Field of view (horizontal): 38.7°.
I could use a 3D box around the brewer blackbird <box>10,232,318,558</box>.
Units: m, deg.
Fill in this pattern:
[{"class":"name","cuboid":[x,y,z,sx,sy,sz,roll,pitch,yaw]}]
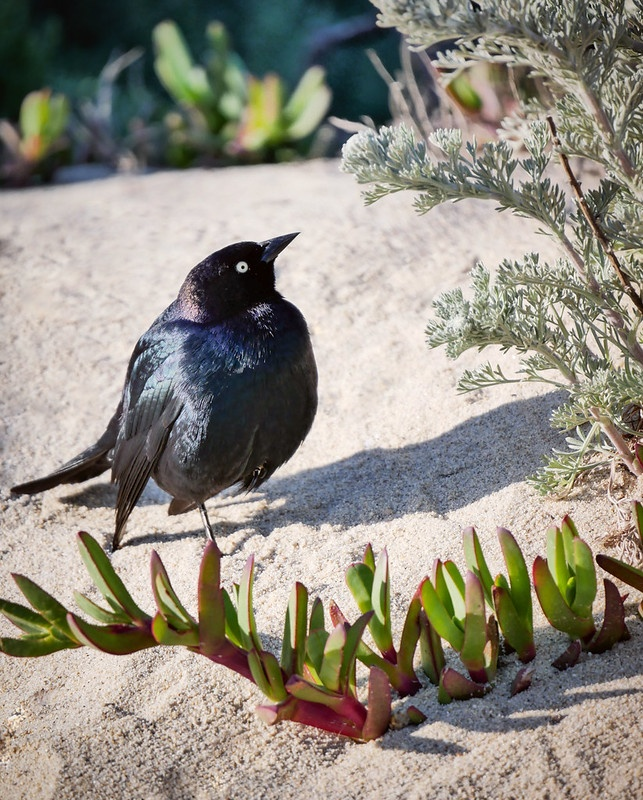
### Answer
[{"class":"brewer blackbird","cuboid":[-0.295,-0.054,3.291,0.927,1.042,1.071,-15,29,-18]}]
